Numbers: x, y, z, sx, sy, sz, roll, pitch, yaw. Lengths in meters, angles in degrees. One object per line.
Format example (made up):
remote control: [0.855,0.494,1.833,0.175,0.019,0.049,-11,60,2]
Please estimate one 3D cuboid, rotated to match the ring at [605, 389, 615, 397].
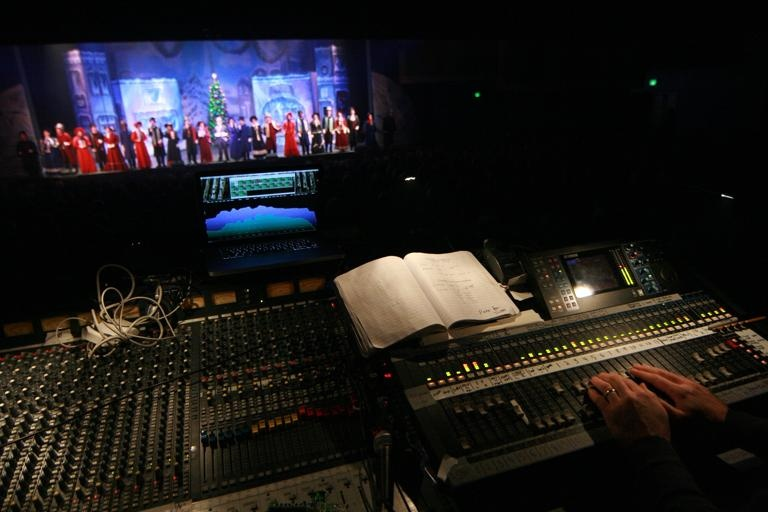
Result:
ring: [0.943,0.561,2.297,0.029,0.022,0.028,-3,20,1]
